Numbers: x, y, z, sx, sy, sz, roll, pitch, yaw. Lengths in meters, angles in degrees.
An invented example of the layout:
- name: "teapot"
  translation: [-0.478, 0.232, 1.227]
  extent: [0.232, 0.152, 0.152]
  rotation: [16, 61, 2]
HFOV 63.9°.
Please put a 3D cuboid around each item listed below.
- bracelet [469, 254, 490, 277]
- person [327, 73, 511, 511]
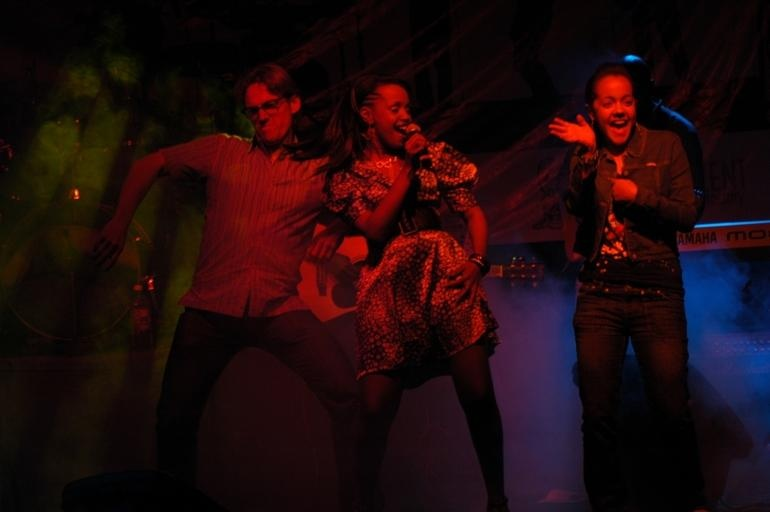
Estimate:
- name: "bracelet"
  translation: [0.533, 0.041, 3.462]
  extent: [0.117, 0.112, 0.117]
  rotation: [30, -1, 16]
- name: "person"
  translation: [0.187, 0.155, 3.528]
  extent: [0.917, 2.438, 0.687]
  rotation: [14, -17, -37]
